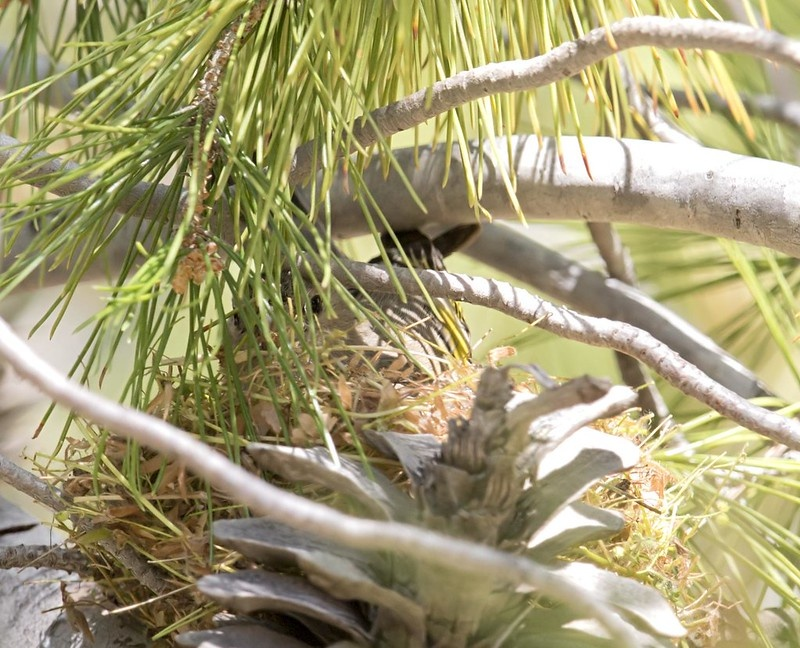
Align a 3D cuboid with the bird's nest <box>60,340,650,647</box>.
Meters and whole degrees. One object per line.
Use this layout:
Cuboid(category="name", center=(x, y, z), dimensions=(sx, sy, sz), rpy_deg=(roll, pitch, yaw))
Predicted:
Cuboid(category="bird's nest", center=(0.005, 0.124, 0.772), dimensions=(0.235, 0.144, 0.206), rpy_deg=(20, -1, -7))
